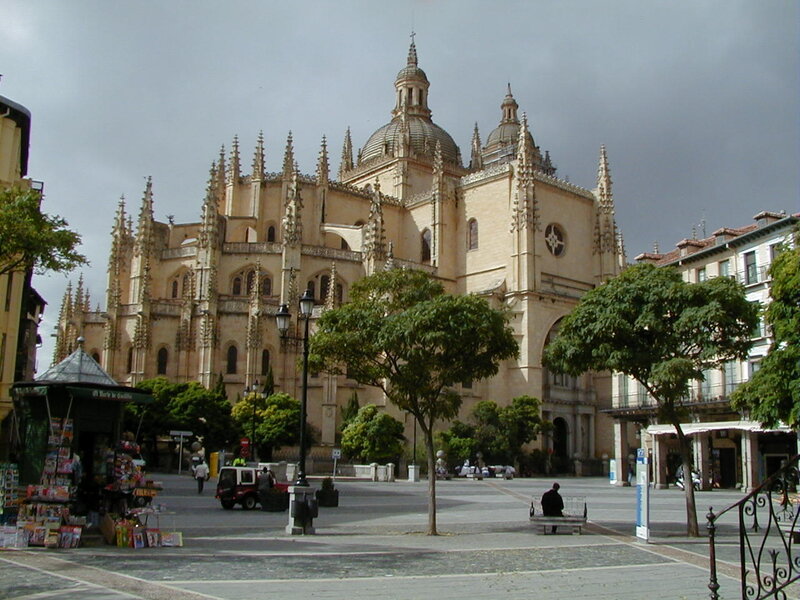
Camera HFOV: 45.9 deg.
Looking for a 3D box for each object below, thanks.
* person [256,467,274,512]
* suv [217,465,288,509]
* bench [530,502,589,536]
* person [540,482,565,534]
[{"bbox_3d":[-4.464,6.262,31.366,0.526,1.269,1.421,2,-12,-8],"label":"person"},{"bbox_3d":[-4.908,6.293,31.789,2.169,1.122,1.359,3,-9,-35],"label":"suv"},{"bbox_3d":[4.227,5.768,25.120,1.450,0.830,1.301,-2,-12,8],"label":"bench"},{"bbox_3d":[4.078,5.465,25.221,0.553,1.161,0.612,5,12,20],"label":"person"}]
